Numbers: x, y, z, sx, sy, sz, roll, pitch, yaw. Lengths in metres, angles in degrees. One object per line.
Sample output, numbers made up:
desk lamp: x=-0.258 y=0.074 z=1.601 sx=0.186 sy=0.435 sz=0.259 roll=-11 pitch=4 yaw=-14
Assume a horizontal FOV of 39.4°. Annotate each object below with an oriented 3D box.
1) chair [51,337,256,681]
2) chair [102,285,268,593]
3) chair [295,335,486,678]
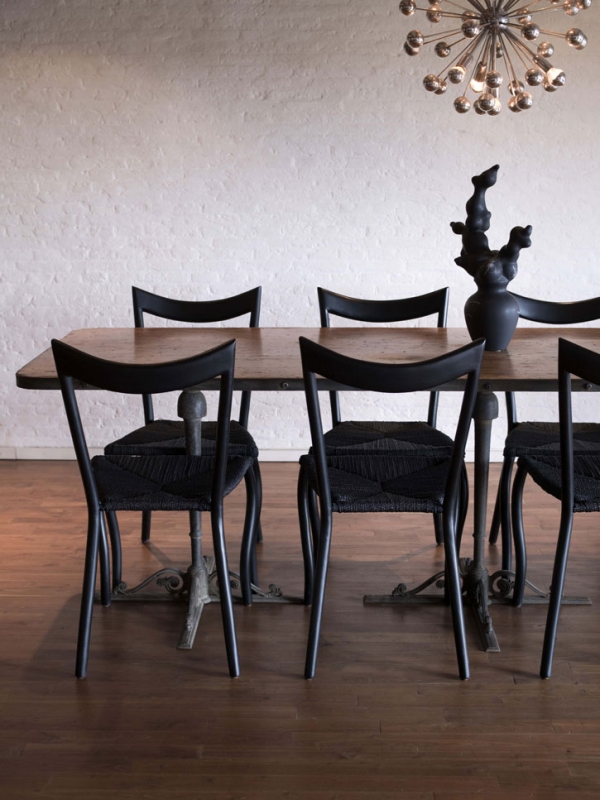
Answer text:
chair: x=-0.336 y=0.224 z=2.118 sx=0.476 sy=0.828 sz=0.501 roll=-2 pitch=13 yaw=-5
chair: x=-0.364 y=0.105 z=2.796 sx=0.612 sy=0.907 sz=0.622 roll=-4 pitch=15 yaw=-15
chair: x=0.221 y=0.209 z=2.157 sx=0.469 sy=0.832 sz=0.603 roll=1 pitch=13 yaw=5
